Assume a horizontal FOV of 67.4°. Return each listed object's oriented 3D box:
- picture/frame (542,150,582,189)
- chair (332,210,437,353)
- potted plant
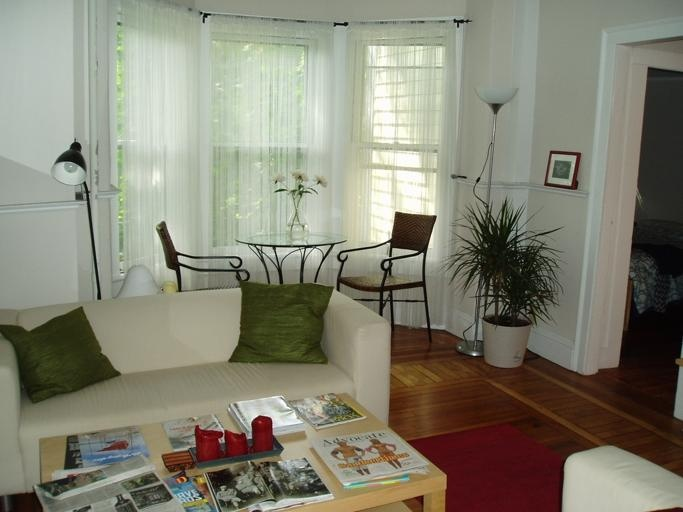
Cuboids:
[{"bbox_3d":[1.837,-0.713,4.232,0.111,0.330,0.316,10,-1,-31],"label":"picture/frame"},{"bbox_3d":[0.261,0.146,5.490,1.150,1.740,1.135,-6,11,-40],"label":"chair"},{"bbox_3d":[1.443,0.206,4.439,0.836,1.382,0.984,2,10,17],"label":"potted plant"}]
